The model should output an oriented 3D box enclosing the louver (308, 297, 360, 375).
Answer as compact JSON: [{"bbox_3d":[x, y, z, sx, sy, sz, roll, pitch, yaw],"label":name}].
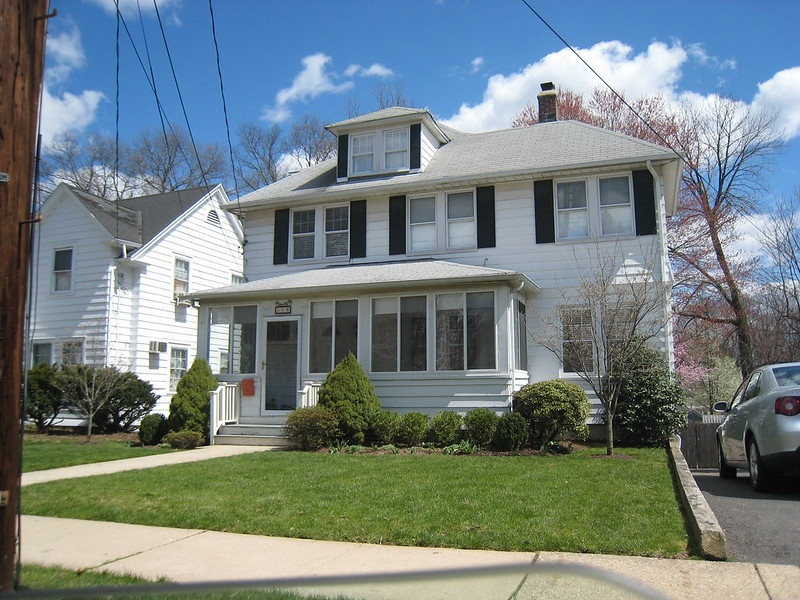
[{"bbox_3d":[-1.612,0.951,19.374,1.704,2.614,0.110,-3,-8,22],"label":"louver"}]

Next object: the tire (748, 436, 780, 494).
[{"bbox_3d":[5.863,2.637,12.441,0.276,0.920,0.902,-1,-17,16],"label":"tire"}]

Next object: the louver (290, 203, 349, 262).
[{"bbox_3d":[-2.334,-1.992,22.677,1.833,1.652,0.172,-3,-9,9],"label":"louver"}]

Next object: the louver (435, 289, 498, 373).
[{"bbox_3d":[1.497,0.731,18.475,1.789,2.411,0.110,-3,26,2],"label":"louver"}]

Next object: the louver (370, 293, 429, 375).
[{"bbox_3d":[0.043,0.874,18.986,1.669,2.252,0.127,-6,-11,27],"label":"louver"}]

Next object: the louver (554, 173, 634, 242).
[{"bbox_3d":[5.047,-2.423,20.059,2.065,1.886,0.220,-4,-20,16],"label":"louver"}]

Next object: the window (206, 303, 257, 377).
[{"bbox_3d":[-4.391,1.104,20.275,1.636,2.235,0.166,-4,-10,21],"label":"window"}]

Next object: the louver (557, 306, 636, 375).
[{"bbox_3d":[4.654,0.956,18.017,1.447,1.445,0.151,-11,-21,38],"label":"louver"}]

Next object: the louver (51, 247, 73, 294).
[{"bbox_3d":[-10.241,-0.929,23.412,0.702,1.405,0.156,-1,-3,10],"label":"louver"}]

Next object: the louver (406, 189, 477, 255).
[{"bbox_3d":[1.178,-2.194,21.459,2.125,1.797,0.157,-4,-14,14],"label":"louver"}]

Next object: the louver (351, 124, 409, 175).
[{"bbox_3d":[-0.524,-4.446,22.632,1.429,0.962,0.068,-3,-15,22],"label":"louver"}]
